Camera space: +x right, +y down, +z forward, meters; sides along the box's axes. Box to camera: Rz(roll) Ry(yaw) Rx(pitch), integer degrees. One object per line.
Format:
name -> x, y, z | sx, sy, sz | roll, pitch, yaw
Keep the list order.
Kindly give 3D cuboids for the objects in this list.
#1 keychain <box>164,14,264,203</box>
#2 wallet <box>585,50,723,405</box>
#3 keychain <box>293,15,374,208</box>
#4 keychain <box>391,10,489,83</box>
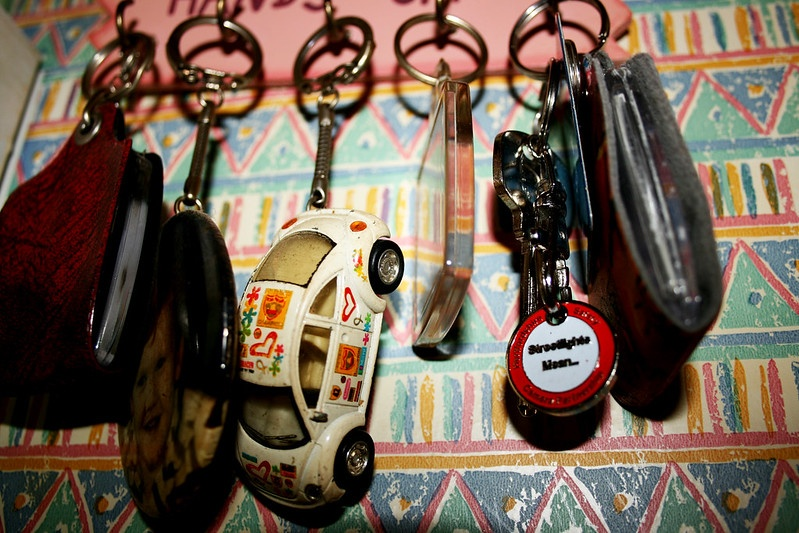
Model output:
keychain -> -0.344, -0.288, 1.276 | 0.155, 0.384, 0.085 | 10, -15, -5
wallet -> 0.356, -0.040, 1.000 | 0.151, 0.527, 0.255 | -4, 13, 5
keychain -> -0.108, -0.271, 1.196 | 0.138, 0.346, 0.044 | -9, -19, 33
keychain -> 0.071, -0.336, 1.159 | 0.156, 0.039, 0.161 | 11, -3, -29
